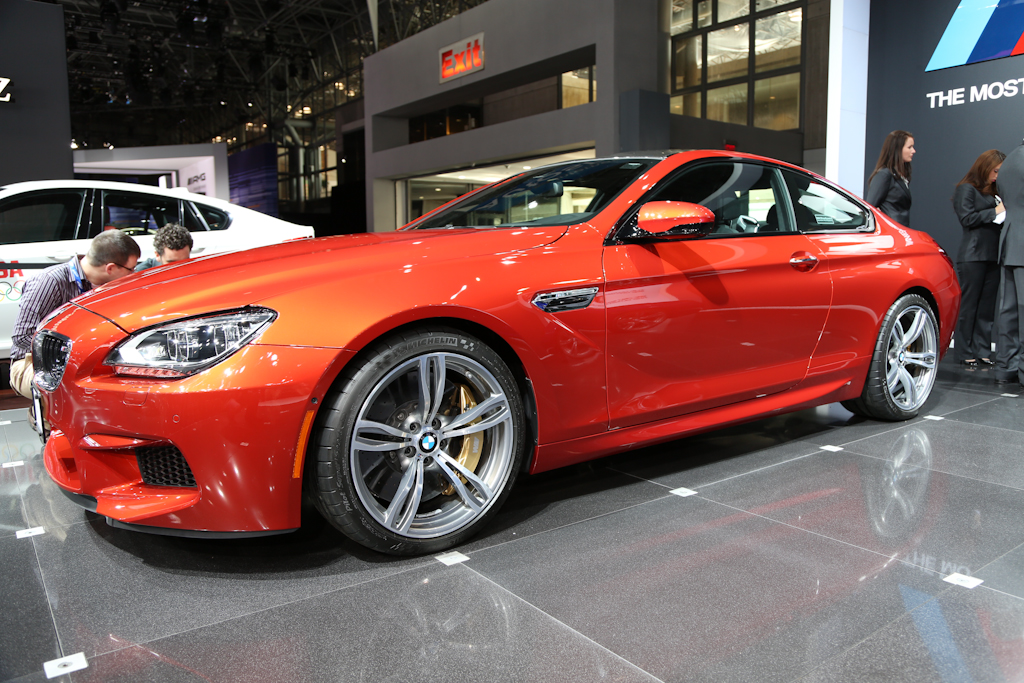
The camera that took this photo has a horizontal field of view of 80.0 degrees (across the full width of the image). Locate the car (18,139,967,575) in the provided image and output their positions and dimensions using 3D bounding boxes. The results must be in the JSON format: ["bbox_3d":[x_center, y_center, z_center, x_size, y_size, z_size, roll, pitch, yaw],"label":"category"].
[{"bbox_3d":[0.381,0.009,3.418,4.403,1.348,2.075,-3,5,-27],"label":"car"}]
